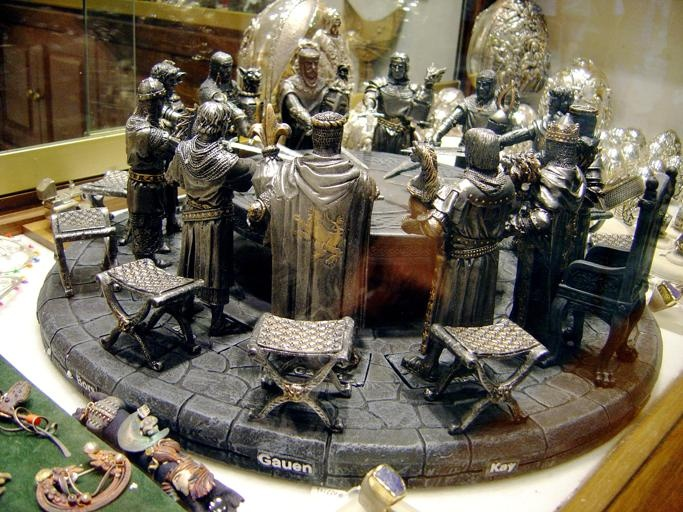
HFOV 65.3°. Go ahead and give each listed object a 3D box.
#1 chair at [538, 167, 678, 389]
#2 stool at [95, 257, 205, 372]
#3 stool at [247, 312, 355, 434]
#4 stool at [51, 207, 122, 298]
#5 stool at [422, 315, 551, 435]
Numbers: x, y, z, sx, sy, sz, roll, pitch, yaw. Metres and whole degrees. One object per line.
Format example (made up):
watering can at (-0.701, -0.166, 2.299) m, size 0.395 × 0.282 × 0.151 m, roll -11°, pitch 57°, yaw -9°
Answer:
chair at (2.041, 0.090, 4.019) m, size 0.638 × 1.576 × 0.738 m, roll 18°, pitch 24°, yaw 31°
stool at (-1.433, 0.409, 4.015) m, size 0.652 × 0.564 × 0.777 m, roll -8°, pitch 21°, yaw -44°
stool at (-0.219, 0.839, 3.663) m, size 0.709 × 0.590 × 0.711 m, roll 4°, pitch 24°, yaw 6°
stool at (-2.266, -0.046, 4.720) m, size 0.522 × 0.641 × 0.537 m, roll -6°, pitch 35°, yaw -24°
stool at (0.980, 0.792, 3.701) m, size 0.645 × 0.563 × 0.646 m, roll -1°, pitch 14°, yaw -14°
